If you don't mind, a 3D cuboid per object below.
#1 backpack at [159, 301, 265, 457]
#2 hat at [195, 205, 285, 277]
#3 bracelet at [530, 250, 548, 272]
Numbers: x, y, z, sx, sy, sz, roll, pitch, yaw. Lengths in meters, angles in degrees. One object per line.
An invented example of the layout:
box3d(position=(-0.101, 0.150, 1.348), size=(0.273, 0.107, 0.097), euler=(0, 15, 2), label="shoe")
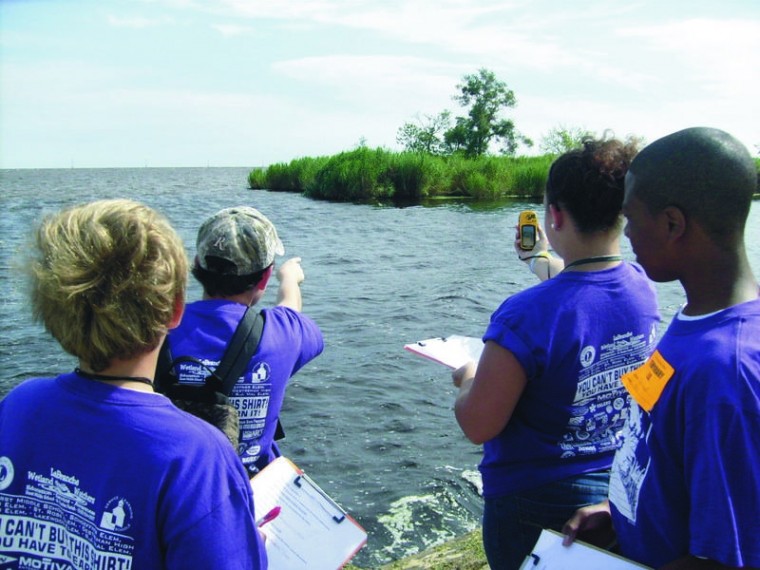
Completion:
box3d(position=(-0.689, 0.390, 3.609), size=(0.348, 0.589, 0.529), euler=(22, -31, -2), label="backpack")
box3d(position=(-0.652, -0.239, 4.027), size=(0.369, 0.266, 0.509), euler=(8, 21, 16), label="hat")
box3d(position=(0.836, -0.126, 4.509), size=(0.085, 0.069, 0.089), euler=(-3, 16, 3), label="bracelet")
